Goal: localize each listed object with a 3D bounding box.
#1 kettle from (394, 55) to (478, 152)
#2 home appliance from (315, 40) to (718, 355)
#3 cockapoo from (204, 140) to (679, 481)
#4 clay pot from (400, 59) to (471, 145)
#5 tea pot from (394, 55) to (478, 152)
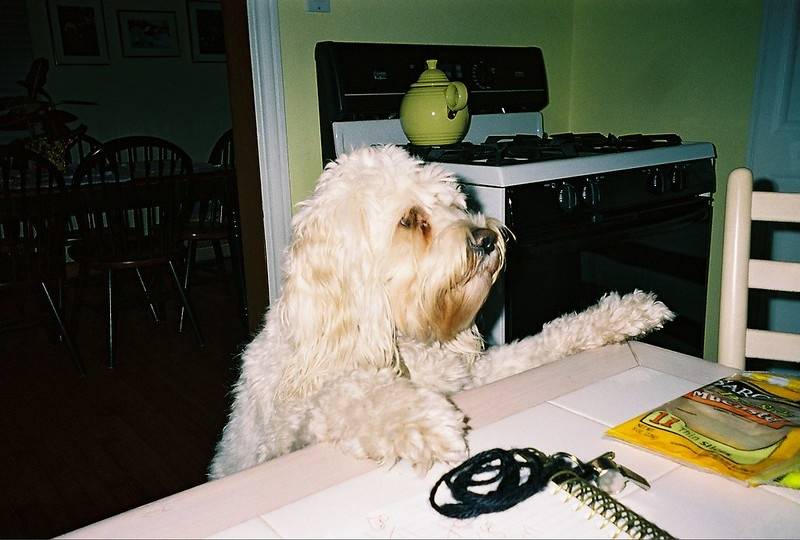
[{"bbox_3d":[0.147,-0.665,2.267,0.265,0.337,0.346,-6,13,-22],"label":"kettle"},{"bbox_3d":[0.556,-0.128,2.664,1.288,1.874,1.195,-15,21,-34],"label":"home appliance"},{"bbox_3d":[-0.091,0.096,1.749,1.484,0.783,0.846,-12,-1,41],"label":"cockapoo"},{"bbox_3d":[0.147,-0.668,2.268,0.267,0.345,0.356,-5,10,-17],"label":"clay pot"},{"bbox_3d":[0.150,-0.668,2.270,0.272,0.346,0.355,-6,11,-23],"label":"tea pot"}]
